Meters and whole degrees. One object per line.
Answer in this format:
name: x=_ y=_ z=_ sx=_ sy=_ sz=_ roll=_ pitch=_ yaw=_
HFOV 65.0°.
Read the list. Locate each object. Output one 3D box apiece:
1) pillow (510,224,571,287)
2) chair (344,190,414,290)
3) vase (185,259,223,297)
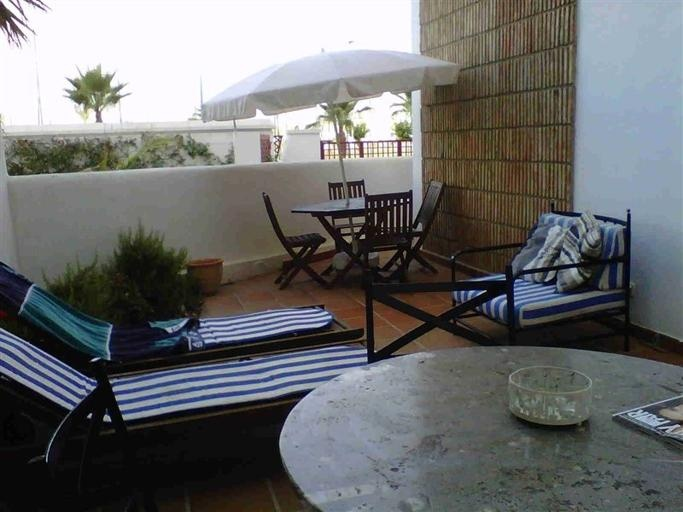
pillow: x=1.708 y=-0.017 z=4.579 sx=0.151 sy=0.540 sz=0.520 roll=21 pitch=-4 yaw=-14
chair: x=0.503 y=-0.253 z=6.396 sx=0.802 sy=1.363 sz=1.053 roll=-5 pitch=23 yaw=-12
vase: x=-1.686 y=0.267 z=6.527 sx=0.479 sy=0.404 sz=0.496 roll=-4 pitch=6 yaw=-2
